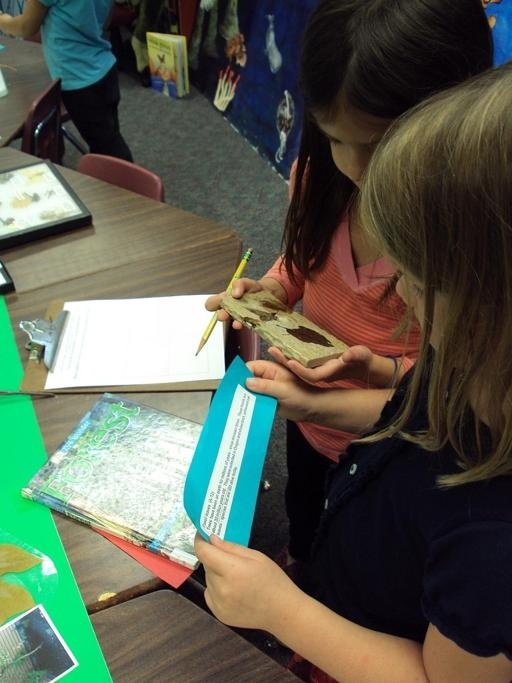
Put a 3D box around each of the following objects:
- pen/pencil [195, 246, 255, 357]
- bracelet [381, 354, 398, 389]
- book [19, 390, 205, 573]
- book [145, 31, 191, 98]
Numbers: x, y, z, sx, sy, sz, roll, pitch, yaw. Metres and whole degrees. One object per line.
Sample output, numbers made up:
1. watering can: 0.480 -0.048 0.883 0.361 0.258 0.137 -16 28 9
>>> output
1. pen/pencil: -0.073 -0.082 1.191 0.026 0.025 0.343 23 62 18
2. bracelet: 0.255 0.065 1.026 0.040 0.043 0.050 2 17 3
3. book: -0.189 0.213 0.905 0.328 0.057 0.245 22 46 12
4. book: -0.625 -2.015 3.867 0.191 0.413 0.364 -26 48 -25
